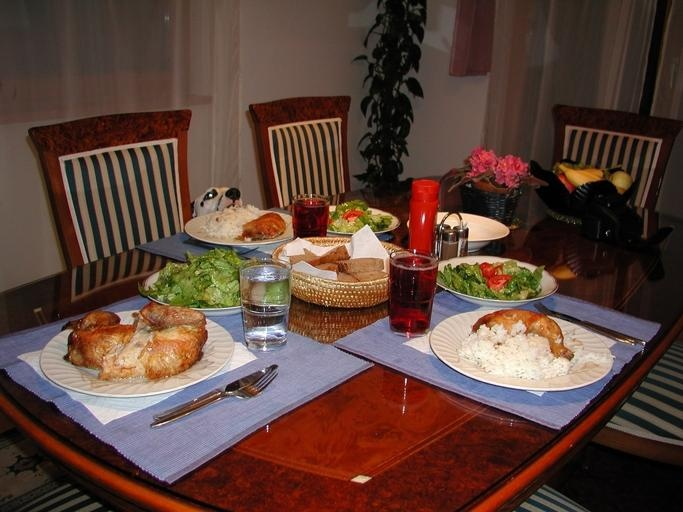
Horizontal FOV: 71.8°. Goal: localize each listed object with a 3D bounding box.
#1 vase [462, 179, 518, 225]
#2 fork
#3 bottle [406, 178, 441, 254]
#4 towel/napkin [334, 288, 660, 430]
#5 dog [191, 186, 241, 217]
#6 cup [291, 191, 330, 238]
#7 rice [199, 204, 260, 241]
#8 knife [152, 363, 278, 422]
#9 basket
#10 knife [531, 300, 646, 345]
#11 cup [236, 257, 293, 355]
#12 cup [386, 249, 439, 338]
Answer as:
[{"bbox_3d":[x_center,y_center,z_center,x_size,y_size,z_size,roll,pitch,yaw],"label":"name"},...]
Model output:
[{"bbox_3d":[0.499,-0.193,1.631,0.161,0.128,0.143,17,27,33],"label":"vase"},{"bbox_3d":[-0.205,0.224,0.728,0.153,0.022,0.026,-21,42,-32],"label":"fork"},{"bbox_3d":[0.215,-0.094,1.260,0.077,0.214,0.080,-1,30,0],"label":"bottle"},{"bbox_3d":[0.211,0.088,0.783,0.291,0.014,0.338,15,26,31],"label":"towel/napkin"},{"bbox_3d":[-0.429,-0.177,1.583,0.128,0.048,0.102,1,6,38],"label":"dog"},{"bbox_3d":[-0.088,-0.113,1.403,0.110,0.131,0.117,1,24,-1],"label":"cup"},{"bbox_3d":[-0.326,-0.096,1.359,0.113,0.041,0.116,10,26,37],"label":"rice"},{"bbox_3d":[-0.206,0.216,0.741,0.150,0.022,0.025,-22,41,-32],"label":"knife"},{"bbox_3d":[-0.018,0.060,1.125,0.250,0.075,0.273,15,11,40],"label":"basket"},{"bbox_3d":[0.512,0.141,0.984,0.198,0.023,0.010,21,41,29],"label":"knife"},{"bbox_3d":[-0.150,0.092,0.912,0.104,0.166,0.098,5,11,-1],"label":"cup"},{"bbox_3d":[0.144,0.075,0.966,0.092,0.150,0.092,-3,16,1],"label":"cup"}]
